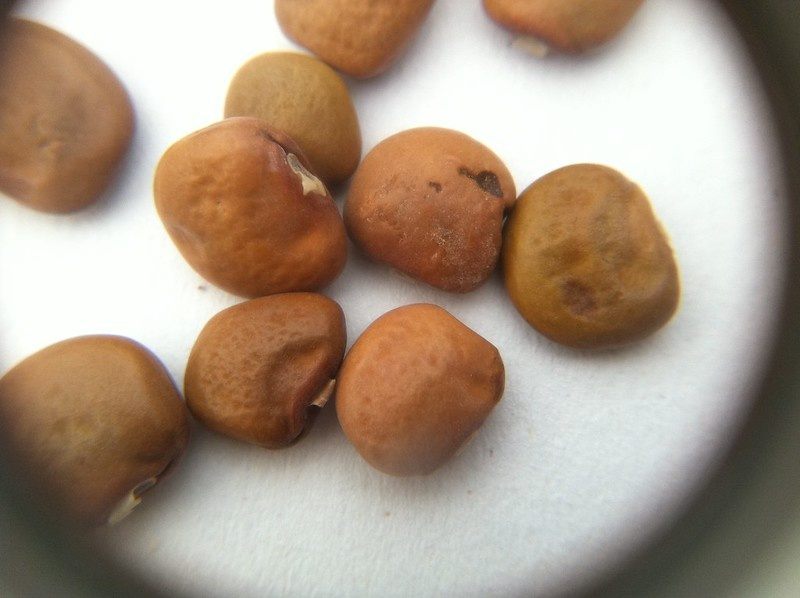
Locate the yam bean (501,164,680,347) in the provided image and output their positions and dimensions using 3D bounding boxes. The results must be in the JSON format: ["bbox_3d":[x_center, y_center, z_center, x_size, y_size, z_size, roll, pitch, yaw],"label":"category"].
[{"bbox_3d":[0.279,-0.064,1.173,0.252,0.106,0.265,-13,77,-3],"label":"yam bean"}]

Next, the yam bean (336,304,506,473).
[{"bbox_3d":[0.024,0.128,1.174,0.253,0.122,0.217,-40,79,-9],"label":"yam bean"}]

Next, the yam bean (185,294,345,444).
[{"bbox_3d":[-0.200,0.103,1.145,0.237,0.074,0.204,-4,77,-1],"label":"yam bean"}]

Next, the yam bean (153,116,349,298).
[{"bbox_3d":[-0.214,-0.120,1.131,0.248,0.125,0.233,-16,77,-4],"label":"yam bean"}]
